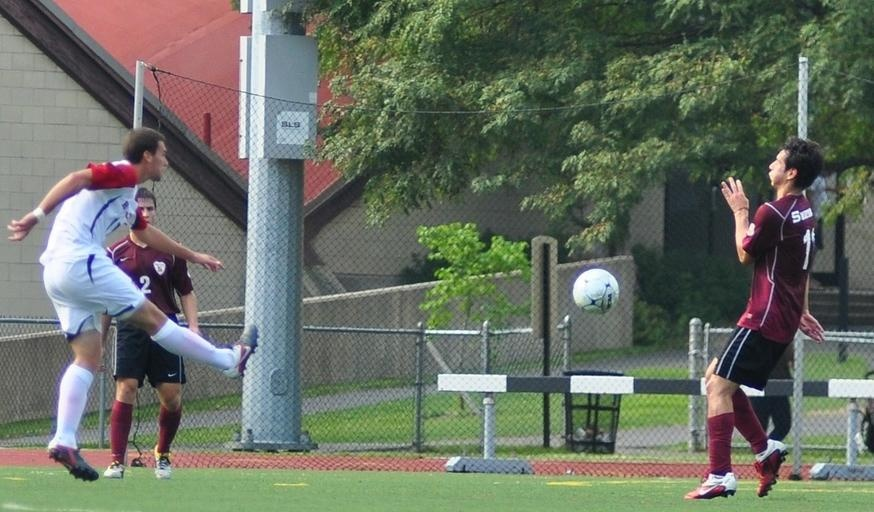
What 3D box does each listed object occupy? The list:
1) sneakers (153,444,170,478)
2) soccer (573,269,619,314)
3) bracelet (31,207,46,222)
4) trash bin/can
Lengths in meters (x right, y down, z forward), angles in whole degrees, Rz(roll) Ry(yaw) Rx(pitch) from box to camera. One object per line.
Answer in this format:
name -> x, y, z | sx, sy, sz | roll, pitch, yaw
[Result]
sneakers -> -4.723, 3.593, 33.321 | 0.233, 0.606, 0.275 | -7, -7, -14
soccer -> 2.958, 0.623, 35.315 | 0.766, 0.844, 0.389 | 3, -10, -17
bracelet -> -6.530, -0.705, 31.798 | 0.185, 0.217, 0.224 | -3, -25, -28
trash bin/can -> 3.091, 3.069, 37.277 | 1.666, 1.695, 1.507 | 1, -6, 0
